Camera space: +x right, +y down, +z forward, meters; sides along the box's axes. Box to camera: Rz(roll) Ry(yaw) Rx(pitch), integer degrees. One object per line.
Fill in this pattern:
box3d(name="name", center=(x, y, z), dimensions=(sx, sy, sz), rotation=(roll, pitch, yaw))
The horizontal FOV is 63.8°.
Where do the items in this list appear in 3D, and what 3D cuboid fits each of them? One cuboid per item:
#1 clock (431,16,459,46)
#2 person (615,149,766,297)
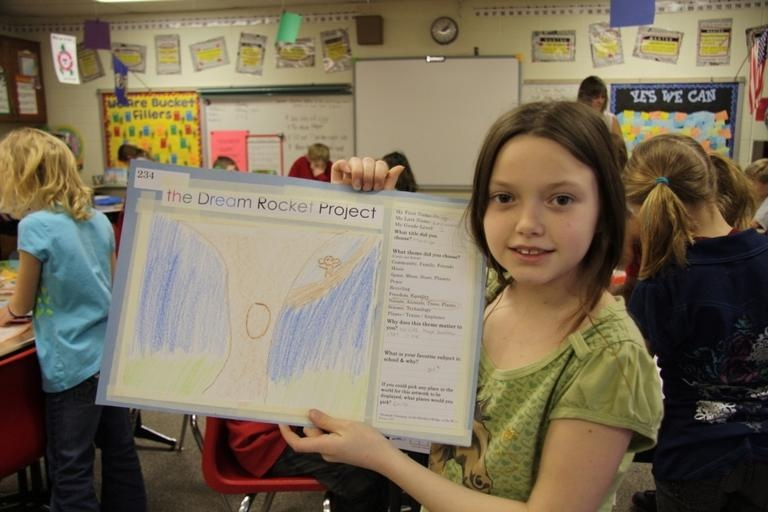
box3d(name="clock", center=(0.538, -2.023, 5.554), dimensions=(0.239, 0.231, 0.056), rotation=(3, 12, 7))
box3d(name="person", center=(1.401, -0.245, 2.852), dimensions=(0.650, 0.820, 0.371), rotation=(2, 2, 14))
